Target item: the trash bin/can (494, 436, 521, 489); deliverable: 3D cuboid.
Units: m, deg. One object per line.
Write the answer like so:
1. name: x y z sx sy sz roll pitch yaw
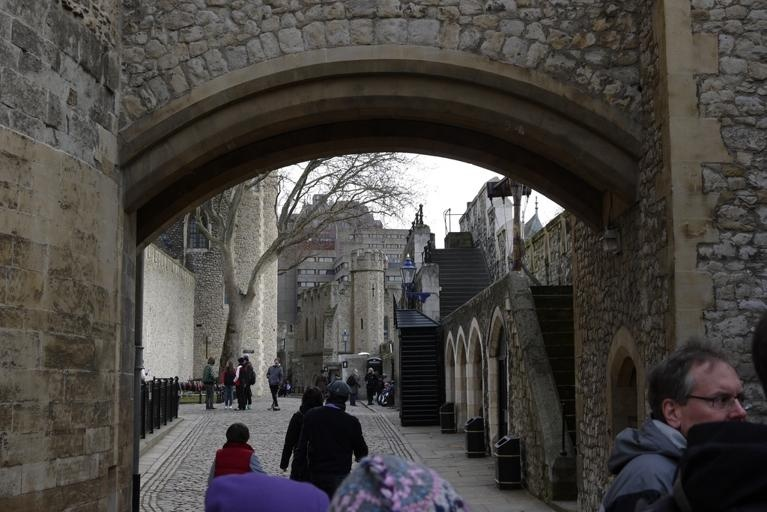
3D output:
1. trash bin/can: 1.969 3.228 13.049 0.426 0.792 0.504 -2 -14 5

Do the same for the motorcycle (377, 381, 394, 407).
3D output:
1. motorcycle: 0.107 5.383 32.176 0.620 0.767 1.282 5 -22 -3

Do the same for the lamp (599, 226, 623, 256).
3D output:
1. lamp: 2.708 -0.157 9.951 0.261 0.474 0.327 3 -6 -5

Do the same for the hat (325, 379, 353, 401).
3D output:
1. hat: -0.480 1.391 8.768 0.199 0.144 0.270 4 3 -8

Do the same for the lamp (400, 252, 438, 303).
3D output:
1. lamp: 1.364 0.793 31.080 0.790 1.561 1.559 2 -47 -3

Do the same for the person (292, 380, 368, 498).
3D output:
1. person: -0.531 1.849 8.553 0.707 1.168 0.863 2 -14 -11

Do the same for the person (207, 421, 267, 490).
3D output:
1. person: -1.291 1.981 7.581 0.471 0.930 0.452 -1 1 -10

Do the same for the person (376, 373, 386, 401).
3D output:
1. person: -0.133 5.386 34.727 0.483 0.880 0.544 -2 30 4

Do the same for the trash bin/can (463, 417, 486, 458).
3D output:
1. trash bin/can: 1.729 3.554 16.342 0.488 0.747 0.499 0 -12 -5
